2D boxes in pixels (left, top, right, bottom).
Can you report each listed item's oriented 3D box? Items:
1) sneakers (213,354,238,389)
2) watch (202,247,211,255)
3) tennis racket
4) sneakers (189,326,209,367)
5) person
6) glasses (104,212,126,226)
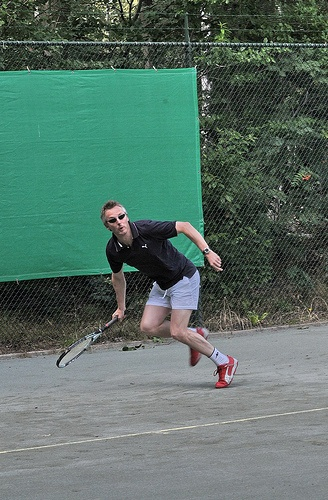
[{"bbox_3d":[0.533,1.020,5.470,0.183,0.341,0.124,32,-18,-30],"label":"sneakers"},{"bbox_3d":[0.346,0.008,5.119,0.072,0.041,0.060,-18,-15,-38],"label":"watch"},{"bbox_3d":[-0.869,1.041,7.400,0.104,0.276,1.018,46,31,14],"label":"tennis racket"},{"bbox_3d":[0.293,0.871,5.757,0.191,0.393,0.135,15,40,1],"label":"sneakers"},{"bbox_3d":[0.047,0.398,5.403,1.170,1.682,0.589,4,25,10],"label":"person"},{"bbox_3d":[-0.380,-0.249,5.056,0.157,0.077,0.061,-8,25,-18],"label":"glasses"}]
